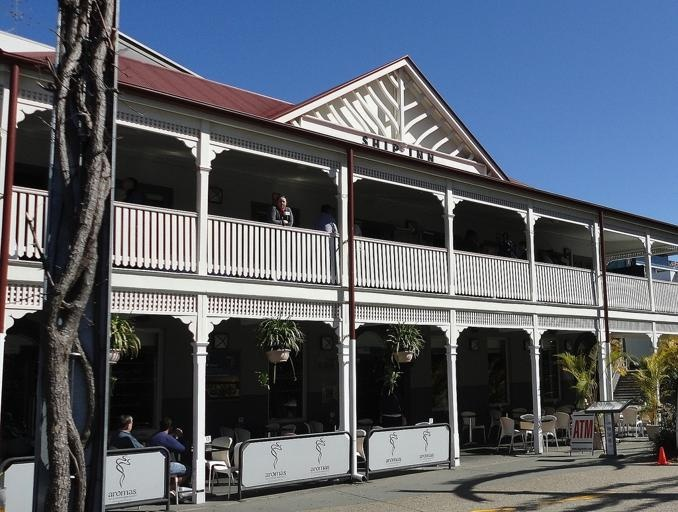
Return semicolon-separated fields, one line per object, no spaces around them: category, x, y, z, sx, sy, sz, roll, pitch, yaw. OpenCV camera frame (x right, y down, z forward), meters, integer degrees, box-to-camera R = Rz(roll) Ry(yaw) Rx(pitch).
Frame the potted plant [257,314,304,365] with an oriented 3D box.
potted plant;-1.239;1.759;17.016;0.764;0.803;0.760;3;1;-12

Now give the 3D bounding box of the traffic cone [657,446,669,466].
traffic cone;7.342;4.514;18.704;0.214;0.404;0.910;-6;-15;21

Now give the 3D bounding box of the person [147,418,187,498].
person;-3.250;3.837;15.621;0.591;1.503;0.762;-14;-16;32
